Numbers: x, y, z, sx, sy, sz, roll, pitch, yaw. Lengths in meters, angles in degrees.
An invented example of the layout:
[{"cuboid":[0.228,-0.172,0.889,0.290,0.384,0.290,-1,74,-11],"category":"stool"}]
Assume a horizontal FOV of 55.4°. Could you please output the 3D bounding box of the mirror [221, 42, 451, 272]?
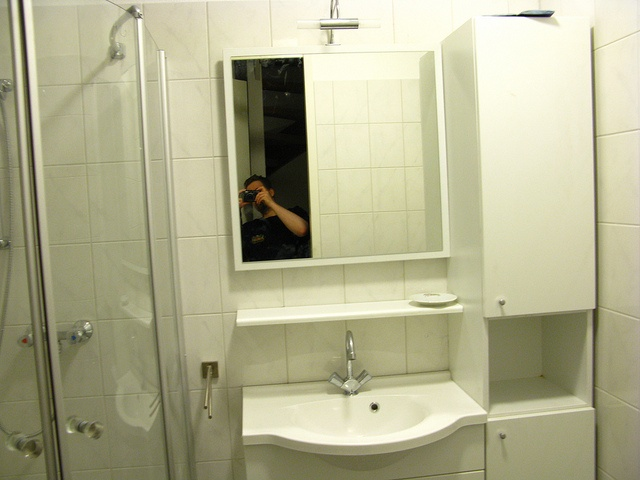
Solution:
[{"cuboid":[0.010,-0.301,2.422,0.931,0.043,0.807,3,-106,-12],"category":"mirror"}]
